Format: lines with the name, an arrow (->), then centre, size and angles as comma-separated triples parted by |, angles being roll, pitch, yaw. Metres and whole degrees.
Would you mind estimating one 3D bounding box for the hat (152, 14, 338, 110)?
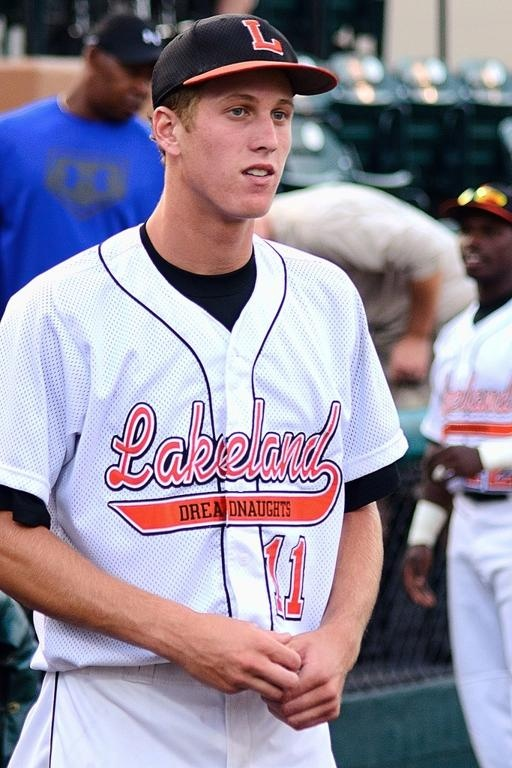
hat -> -0.028, -0.500, 1.437 | 0.294, 0.127, 0.242 | 1, 12, 27
